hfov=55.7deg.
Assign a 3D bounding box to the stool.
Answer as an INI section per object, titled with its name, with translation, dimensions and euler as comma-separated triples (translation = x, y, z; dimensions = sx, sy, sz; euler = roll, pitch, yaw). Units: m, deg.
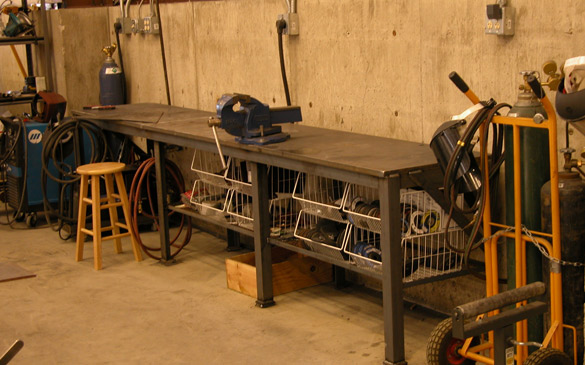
[stool]
translation = -1.722, 0.288, 5.123
dimensions = 0.570, 0.866, 0.543
euler = -6, 10, -29
